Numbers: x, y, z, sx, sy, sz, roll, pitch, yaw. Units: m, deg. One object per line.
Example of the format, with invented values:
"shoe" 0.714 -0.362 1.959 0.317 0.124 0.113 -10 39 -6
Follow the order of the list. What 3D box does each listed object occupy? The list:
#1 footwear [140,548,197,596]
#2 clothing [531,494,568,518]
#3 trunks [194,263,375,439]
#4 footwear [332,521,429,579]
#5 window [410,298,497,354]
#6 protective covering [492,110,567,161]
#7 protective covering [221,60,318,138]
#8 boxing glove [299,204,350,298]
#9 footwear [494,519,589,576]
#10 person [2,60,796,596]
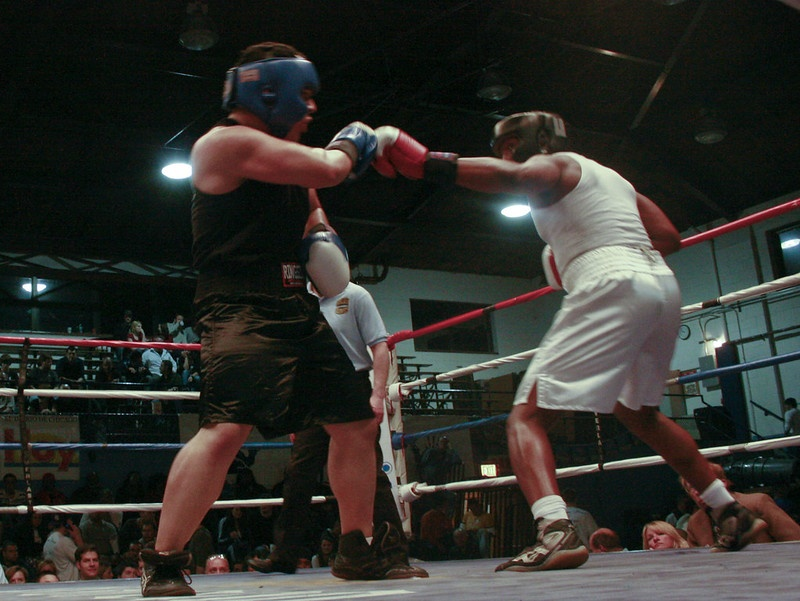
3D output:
"footwear" -0.734 0.859 2.216 0.166 0.142 0.202 1 -12 -17
"clothing" 0.520 0.719 2.451 0.127 0.064 0.091 -12 -24 5
"trunks" -0.421 0.231 2.536 0.290 0.512 0.581 -13 -15 34
"footwear" -0.044 1.014 2.808 0.489 0.184 0.168 -16 -21 33
"window" 1.350 0.638 17.348 2.649 1.336 0.109 -1 1 44
"protective covering" 0.506 -0.676 2.914 0.381 0.183 0.253 1 27 -7
"protective covering" -0.446 -0.736 2.617 0.433 0.217 0.291 -5 4 -5
"boxing glove" -0.272 -0.189 2.622 0.172 0.314 0.148 -16 0 -1
"footwear" 0.516 0.844 2.419 0.350 0.176 0.126 -31 -39 34
"person" -0.091 0.073 2.654 1.629 1.998 0.754 1 -15 -18
